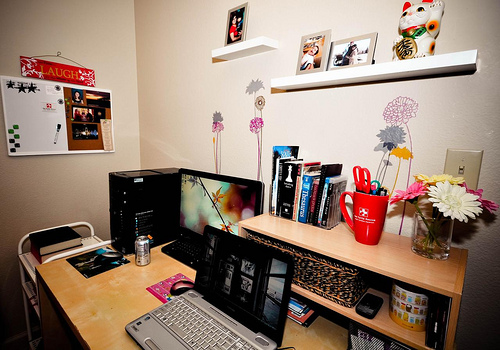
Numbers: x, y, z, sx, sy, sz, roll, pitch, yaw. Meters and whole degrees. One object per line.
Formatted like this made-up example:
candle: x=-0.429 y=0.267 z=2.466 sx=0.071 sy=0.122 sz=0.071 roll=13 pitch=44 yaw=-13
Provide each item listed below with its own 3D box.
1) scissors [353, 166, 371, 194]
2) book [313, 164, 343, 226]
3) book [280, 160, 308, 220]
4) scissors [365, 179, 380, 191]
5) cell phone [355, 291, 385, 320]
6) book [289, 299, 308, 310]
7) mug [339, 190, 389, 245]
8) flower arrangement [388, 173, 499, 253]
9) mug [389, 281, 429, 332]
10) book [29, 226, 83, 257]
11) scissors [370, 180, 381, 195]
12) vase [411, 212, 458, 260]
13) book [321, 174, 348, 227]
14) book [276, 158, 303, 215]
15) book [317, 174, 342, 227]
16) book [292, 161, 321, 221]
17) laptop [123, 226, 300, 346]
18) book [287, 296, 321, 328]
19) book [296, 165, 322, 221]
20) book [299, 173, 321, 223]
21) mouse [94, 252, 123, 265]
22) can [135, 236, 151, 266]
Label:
scissors: x=0.538 y=0.024 z=1.540 sx=0.021 sy=0.154 sz=0.121 roll=-12 pitch=13 yaw=-27
book: x=0.388 y=0.105 z=1.627 sx=0.090 sy=0.256 sz=0.277 roll=8 pitch=13 yaw=19
book: x=0.234 y=0.074 z=1.690 sx=0.097 sy=0.271 sz=0.279 roll=8 pitch=8 yaw=7
scissors: x=0.599 y=0.035 z=1.567 sx=0.068 sy=0.051 sz=0.144 roll=4 pitch=11 yaw=21
cell phone: x=0.551 y=0.601 z=1.475 sx=0.085 sy=0.035 sz=0.156 roll=12 pitch=24 yaw=41
book: x=0.250 y=0.674 z=1.661 sx=0.078 sy=0.019 sz=0.081 roll=18 pitch=9 yaw=31
mug: x=0.550 y=0.204 z=1.595 sx=0.161 sy=0.237 sz=0.245 roll=1 pitch=3 yaw=-29
flower arrangement: x=0.876 y=0.170 z=1.459 sx=0.459 sy=0.342 sz=0.231 roll=5 pitch=12 yaw=24
mug: x=0.702 y=0.597 z=1.444 sx=0.154 sy=0.173 sz=0.154 roll=16 pitch=-6 yaw=2
book: x=-1.344 y=0.435 z=2.201 sx=0.202 sy=0.046 sz=0.195 roll=-6 pitch=19 yaw=-38
scissors: x=0.584 y=0.061 z=1.503 sx=0.042 sy=0.060 sz=0.024 roll=8 pitch=-7 yaw=20
vase: x=0.819 y=0.268 z=1.546 sx=0.206 sy=0.226 sz=0.201 roll=6 pitch=3 yaw=5
book: x=0.421 y=0.130 z=1.626 sx=0.040 sy=0.279 sz=0.246 roll=10 pitch=10 yaw=27
book: x=0.212 y=0.058 z=1.703 sx=0.085 sy=0.252 sz=0.266 roll=7 pitch=10 yaw=14
book: x=0.391 y=0.135 z=1.632 sx=0.089 sy=0.252 sz=0.040 roll=-7 pitch=13 yaw=-35
book: x=0.293 y=0.083 z=1.659 sx=0.083 sy=0.247 sz=0.259 roll=8 pitch=13 yaw=16
laptop: x=-0.189 y=0.482 z=1.440 sx=0.591 sy=0.400 sz=0.597 roll=17 pitch=18 yaw=38
book: x=0.279 y=0.699 z=1.629 sx=0.126 sy=0.030 sz=0.130 roll=28 pitch=51 yaw=26
book: x=0.306 y=0.089 z=1.651 sx=0.085 sy=0.231 sz=0.242 roll=4 pitch=14 yaw=13
book: x=0.329 y=0.121 z=1.773 sx=0.100 sy=0.243 sz=0.265 roll=9 pitch=6 yaw=11
mouse: x=-0.881 y=0.508 z=1.974 sx=0.123 sy=0.043 sz=0.071 roll=-13 pitch=19 yaw=-32
can: x=-0.657 y=0.471 z=1.957 sx=0.125 sy=0.157 sz=0.126 roll=-1 pitch=3 yaw=0
